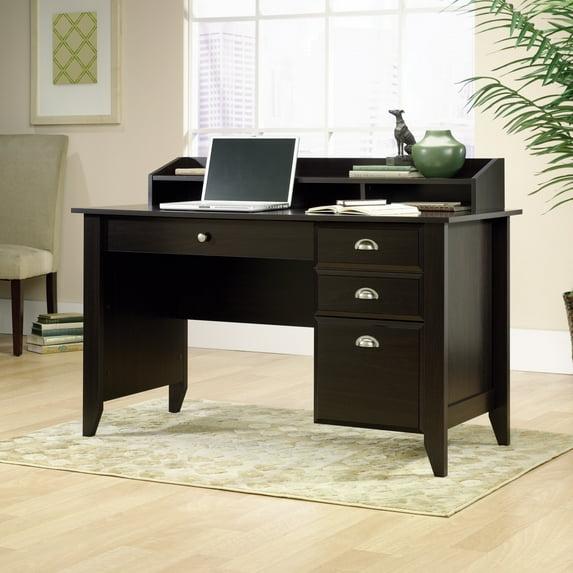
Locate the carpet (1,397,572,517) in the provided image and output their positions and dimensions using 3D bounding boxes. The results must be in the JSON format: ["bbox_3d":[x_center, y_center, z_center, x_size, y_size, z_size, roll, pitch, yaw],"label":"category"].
[{"bbox_3d":[-0.004,0.508,1.966,1.732,0.054,0.990,-1,-2,22],"label":"carpet"}]

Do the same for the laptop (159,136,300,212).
[{"bbox_3d":[-0.204,-0.383,2.064,0.397,0.217,0.298,6,15,29],"label":"laptop"}]

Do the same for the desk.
[{"bbox_3d":[0.008,0.026,2.118,1.351,0.936,0.610,3,5,29],"label":"desk"}]

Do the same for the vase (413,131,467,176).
[{"bbox_3d":[0.517,-0.441,2.102,0.197,0.145,0.160,-6,7,-36],"label":"vase"}]
